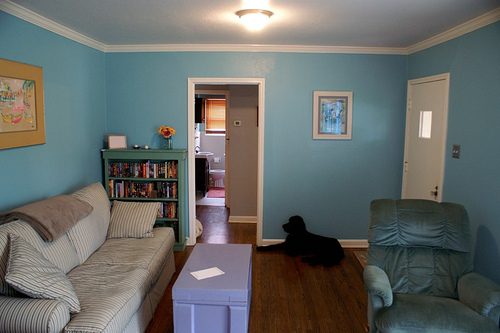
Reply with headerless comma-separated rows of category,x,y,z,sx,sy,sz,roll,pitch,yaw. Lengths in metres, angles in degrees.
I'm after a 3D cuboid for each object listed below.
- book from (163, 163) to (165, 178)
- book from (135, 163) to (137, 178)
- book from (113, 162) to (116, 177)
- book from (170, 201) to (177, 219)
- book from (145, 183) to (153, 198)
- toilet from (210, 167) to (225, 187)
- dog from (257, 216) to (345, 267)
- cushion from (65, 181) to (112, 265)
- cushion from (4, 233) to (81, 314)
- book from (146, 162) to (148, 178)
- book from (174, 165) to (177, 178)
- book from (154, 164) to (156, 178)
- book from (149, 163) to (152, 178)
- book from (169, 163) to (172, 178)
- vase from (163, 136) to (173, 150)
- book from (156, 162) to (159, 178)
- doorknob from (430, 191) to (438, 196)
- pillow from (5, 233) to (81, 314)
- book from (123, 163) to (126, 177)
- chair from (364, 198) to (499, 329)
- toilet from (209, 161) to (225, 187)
book,-1.360,0.058,5.685,0.032,0.225,0.016,-1,7,1
book,-1.806,0.054,5.701,0.032,0.216,0.020,-1,7,-4
book,-2.150,0.050,5.706,0.043,0.209,0.019,0,8,10
book,-1.215,0.693,5.713,0.153,0.247,0.270,0,2,-6
book,-1.599,0.367,5.699,0.037,0.151,0.158,4,-2,-43
toilet,-0.855,0.307,9.771,0.433,0.431,0.457,1,12,3
dog,0.826,1.121,5.630,1.356,0.618,0.497,6,3,26
cushion,-1.936,0.712,4.418,0.245,0.737,0.793,-11,15,7
cushion,-1.898,0.866,3.404,0.213,0.717,0.698,-36,40,-4
book,-1.623,0.061,5.682,0.034,0.232,0.018,-3,8,-15
book,-1.173,0.076,5.685,0.045,0.199,0.050,-1,7,1
book,-1.501,0.066,5.687,0.031,0.210,0.011,-1,7,-3
book,-1.579,0.065,5.695,0.031,0.222,0.044,1,7,11
book,-1.251,0.057,5.694,0.043,0.223,0.033,0,7,6
vase,-1.308,-0.378,5.712,0.162,0.202,0.220,-2,7,-8
book,-1.471,0.062,5.694,0.033,0.230,0.034,-3,8,-14
doorknob,2.595,0.376,5.038,0.077,0.053,0.103,1,5,16
pillow,-1.962,1.009,3.364,0.737,0.713,0.333,-1,7,2
book,-1.995,0.050,5.705,0.049,0.210,0.009,0,7,5
chair,1.860,1.015,3.719,1.257,1.185,0.936,1,7,15
toilet,-0.893,0.288,9.897,0.482,0.715,0.382,-1,10,-6
